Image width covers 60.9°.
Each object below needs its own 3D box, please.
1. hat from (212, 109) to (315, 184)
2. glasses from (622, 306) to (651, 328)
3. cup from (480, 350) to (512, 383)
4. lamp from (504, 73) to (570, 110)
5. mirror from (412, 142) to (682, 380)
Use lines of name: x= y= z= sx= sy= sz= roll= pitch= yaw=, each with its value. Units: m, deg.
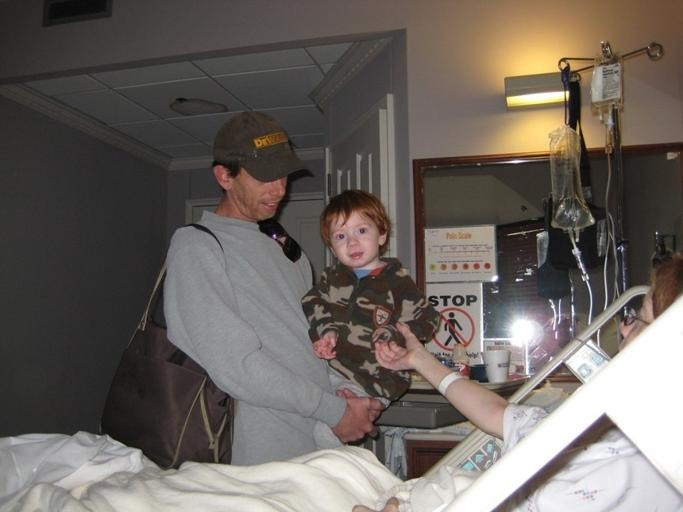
hat: x=-0.295 y=-0.415 z=2.071 sx=0.382 sy=0.218 sz=0.290 roll=17 pitch=27 yaw=36
glasses: x=0.860 y=0.181 z=1.694 sx=0.082 sy=0.027 sz=0.081 roll=-10 pitch=17 yaw=-15
cup: x=0.673 y=0.479 z=2.524 sx=0.125 sy=0.133 sz=0.123 roll=0 pitch=-4 yaw=0
lamp: x=0.918 y=-0.791 z=2.772 sx=0.265 sy=0.134 sz=0.149 roll=-3 pitch=-2 yaw=18
mirror: x=0.903 y=0.016 z=2.478 sx=1.038 sy=0.776 sz=0.115 roll=-3 pitch=-9 yaw=17
